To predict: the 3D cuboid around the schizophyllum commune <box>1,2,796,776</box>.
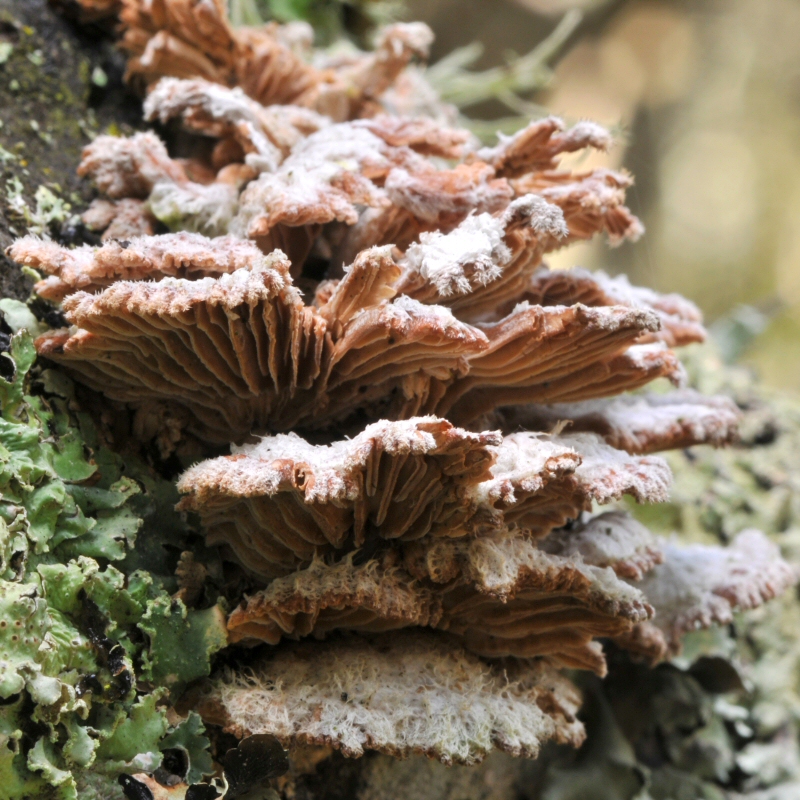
[{"bbox_3d":[-0.072,-0.151,4.007,3.106,2.061,2.087,4,21,-3],"label":"schizophyllum commune"}]
